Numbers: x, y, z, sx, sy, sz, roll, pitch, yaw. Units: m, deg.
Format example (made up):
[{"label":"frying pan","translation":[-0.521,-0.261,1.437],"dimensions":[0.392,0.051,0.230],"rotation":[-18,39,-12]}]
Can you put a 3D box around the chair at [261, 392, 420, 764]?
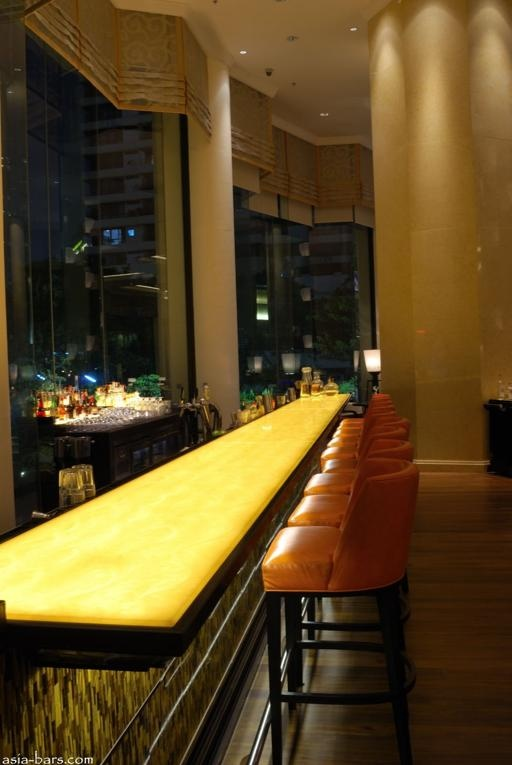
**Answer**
[{"label":"chair","translation":[0.278,0.684,1.988],"dimensions":[0.282,0.690,0.934],"rotation":[1,3,9]}]

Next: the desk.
[{"label":"desk","translation":[-1.073,0.587,5.460],"dimensions":[0.282,0.452,1.876],"rotation":[-3,0,11]}]
